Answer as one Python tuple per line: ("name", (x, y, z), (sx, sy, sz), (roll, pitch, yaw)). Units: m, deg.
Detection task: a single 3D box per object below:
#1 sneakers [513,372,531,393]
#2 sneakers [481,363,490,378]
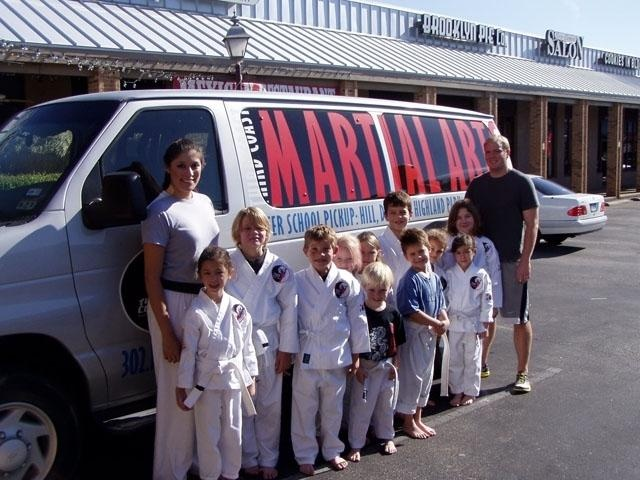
("sneakers", (2.132, 1.498, 5.887), (0.204, 0.179, 0.153), (0, 8, 11))
("sneakers", (1.875, 1.486, 6.346), (0.063, 0.101, 0.205), (-1, -3, 10))
